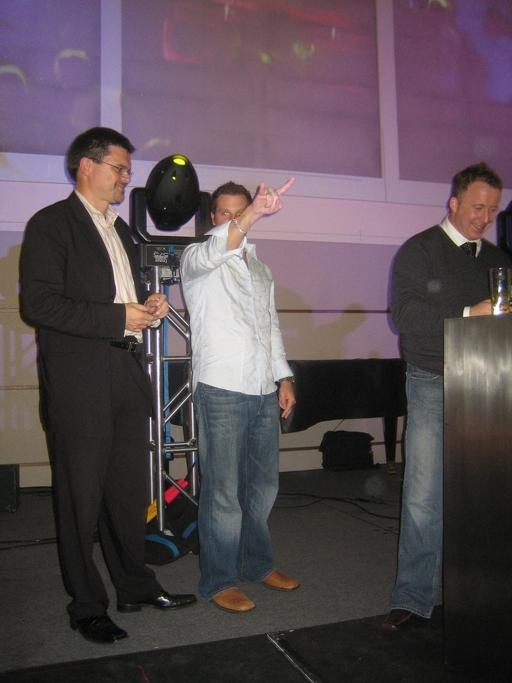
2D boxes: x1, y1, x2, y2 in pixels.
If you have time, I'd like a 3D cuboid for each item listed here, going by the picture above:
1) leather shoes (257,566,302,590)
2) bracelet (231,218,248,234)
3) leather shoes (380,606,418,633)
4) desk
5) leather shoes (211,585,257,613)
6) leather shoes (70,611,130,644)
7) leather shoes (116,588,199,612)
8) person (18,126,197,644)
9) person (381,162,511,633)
[{"bbox_3d":[0.089,0.882,2.443,0.172,0.063,0.057,-3,3,29],"label":"leather shoes"},{"bbox_3d":[-0.051,-0.356,2.029,0.025,0.039,0.047,-36,-26,-4],"label":"bracelet"},{"bbox_3d":[0.452,0.891,2.077,0.138,0.053,0.044,3,-22,-21],"label":"leather shoes"},{"bbox_3d":[0.213,0.479,4.057,1.425,0.653,0.424,-1,-7,-3],"label":"desk"},{"bbox_3d":[-0.074,0.876,2.220,0.074,0.049,0.125,5,-12,-38],"label":"leather shoes"},{"bbox_3d":[-0.489,0.866,2.020,0.186,0.072,0.077,2,-7,34],"label":"leather shoes"},{"bbox_3d":[-0.340,0.858,2.232,0.254,0.076,0.090,-3,-7,-9],"label":"leather shoes"},{"bbox_3d":[-0.507,0.104,2.126,0.360,1.228,0.536,-1,0,32],"label":"person"},{"bbox_3d":[0.598,0.141,2.061,0.395,1.434,0.490,-1,0,13],"label":"person"}]
